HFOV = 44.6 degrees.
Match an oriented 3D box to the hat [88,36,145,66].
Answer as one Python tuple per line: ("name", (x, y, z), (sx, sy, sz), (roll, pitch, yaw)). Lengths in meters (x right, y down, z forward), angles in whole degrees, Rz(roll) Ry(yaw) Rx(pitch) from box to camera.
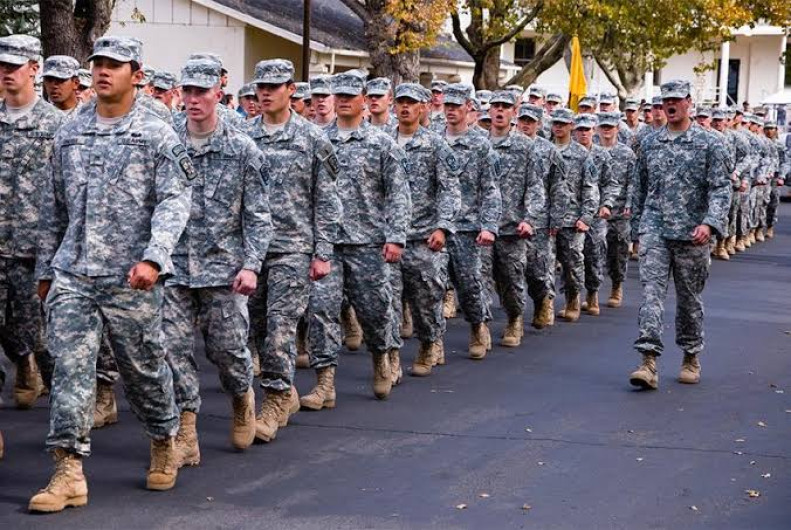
("hat", (-1.863, -1.434, 6.478), (0.384, 0.187, 0.287), (-3, 12, -25))

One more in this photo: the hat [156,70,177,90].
("hat", (-2.606, -2.087, 11.055), (0.218, 0.115, 0.283), (4, 0, 37))

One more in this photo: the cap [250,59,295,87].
("cap", (-0.961, -1.570, 7.922), (0.241, 0.112, 0.289), (-1, 0, 31))

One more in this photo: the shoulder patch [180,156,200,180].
("shoulder patch", (-1.422, -0.646, 6.539), (0.042, 0.137, 0.121), (-22, 6, 42))

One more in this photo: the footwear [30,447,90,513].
("footwear", (-2.222, 1.421, 6.457), (0.418, 0.417, 0.140), (-8, 17, -41))

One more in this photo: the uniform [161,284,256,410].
("uniform", (-1.469, 0.526, 7.265), (0.702, 1.050, 0.382), (-5, -16, -18))

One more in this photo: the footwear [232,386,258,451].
("footwear", (-1.174, 1.195, 7.539), (0.209, 0.460, 0.245), (-3, 2, 4))

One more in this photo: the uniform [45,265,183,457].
("uniform", (-1.926, 0.614, 6.671), (0.762, 1.281, 1.199), (-11, -7, 30))

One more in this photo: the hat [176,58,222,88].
("hat", (-1.429, -1.396, 7.084), (0.244, 0.120, 0.282), (0, 2, 18))

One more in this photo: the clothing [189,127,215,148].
("clothing", (-1.474, -0.945, 7.315), (0.172, 0.117, 0.144), (0, 11, 5))

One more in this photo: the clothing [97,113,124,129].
("clothing", (-1.936, -0.960, 6.525), (0.128, 0.041, 0.122), (7, 23, 40))

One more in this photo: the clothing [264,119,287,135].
("clothing", (-1.004, -1.136, 8.066), (0.155, 0.119, 0.089), (0, 48, -10))

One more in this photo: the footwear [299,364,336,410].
("footwear", (-0.711, 1.090, 8.638), (0.222, 0.373, 0.487), (5, -2, 27))
